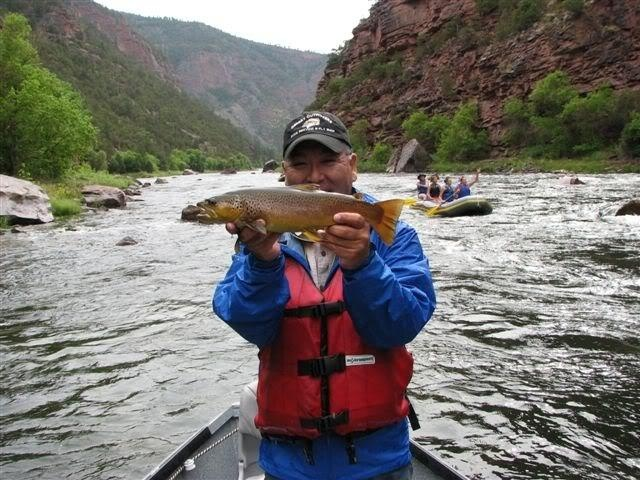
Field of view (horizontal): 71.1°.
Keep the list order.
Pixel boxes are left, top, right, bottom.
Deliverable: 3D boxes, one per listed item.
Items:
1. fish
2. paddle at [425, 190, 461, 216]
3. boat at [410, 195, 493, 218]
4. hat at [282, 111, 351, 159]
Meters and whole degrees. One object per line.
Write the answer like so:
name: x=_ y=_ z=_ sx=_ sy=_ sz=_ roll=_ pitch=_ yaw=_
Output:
fish: x=-0.107 y=-0.176 z=3.185 sx=1.581 sy=0.347 sz=0.288 roll=-1 pitch=15 yaw=-21
paddle: x=5.159 y=-1.554 z=18.839 sx=0.579 sy=0.281 sz=3.787 roll=4 pitch=17 yaw=30
boat: x=5.022 y=-1.213 z=18.188 sx=1.527 sy=0.506 sz=2.938 roll=-3 pitch=0 yaw=-28
hat: x=-0.032 y=-0.822 z=3.472 sx=0.526 sy=0.303 sz=0.630 roll=-3 pitch=7 yaw=6
